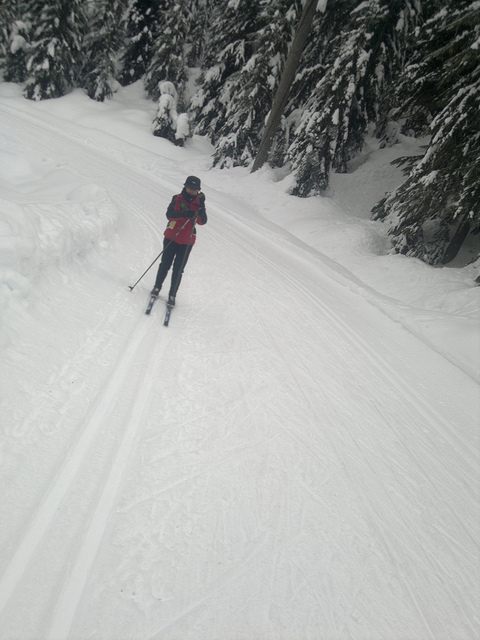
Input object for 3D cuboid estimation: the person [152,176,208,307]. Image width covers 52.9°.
[{"bbox_3d":[-0.829,-1.064,6.777,0.538,1.797,0.841,12,27,-11],"label":"person"}]
